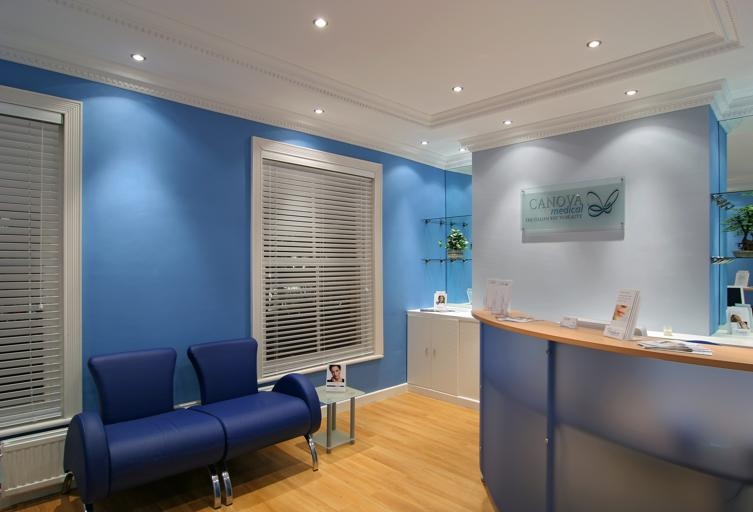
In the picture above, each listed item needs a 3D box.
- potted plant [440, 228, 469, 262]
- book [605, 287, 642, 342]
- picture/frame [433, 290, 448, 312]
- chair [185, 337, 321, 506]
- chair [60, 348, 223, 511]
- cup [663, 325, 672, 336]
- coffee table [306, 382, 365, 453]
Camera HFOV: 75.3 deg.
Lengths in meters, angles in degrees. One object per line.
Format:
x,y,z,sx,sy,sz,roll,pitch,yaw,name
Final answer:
1.076,-0.159,6.850,0.429,0.422,0.423,1,-4,2,potted plant
1.788,0.429,3.559,0.209,0.353,0.351,6,13,27,book
0.819,0.616,6.739,0.182,0.280,0.233,1,-7,0,picture/frame
-1.240,1.504,5.054,1.272,1.339,1.300,0,-2,-40,chair
-2.065,1.319,4.591,1.452,1.531,1.233,4,-16,-38,chair
2.871,0.735,4.816,0.086,0.094,0.086,2,-3,0,cup
-0.492,1.687,5.253,0.569,0.596,0.602,3,-5,-40,coffee table
